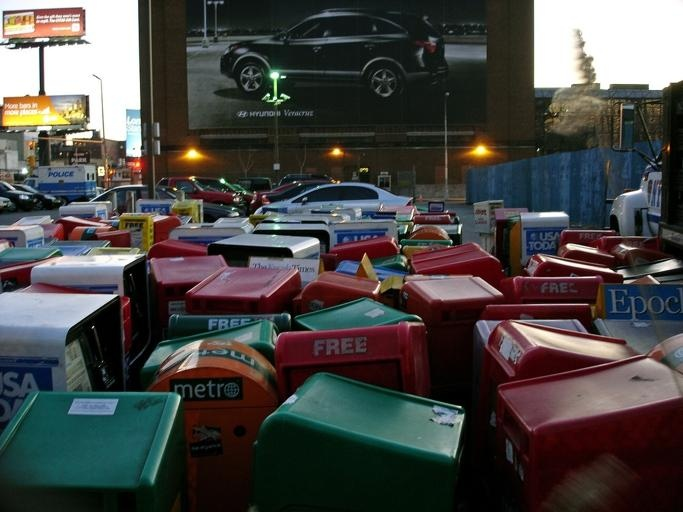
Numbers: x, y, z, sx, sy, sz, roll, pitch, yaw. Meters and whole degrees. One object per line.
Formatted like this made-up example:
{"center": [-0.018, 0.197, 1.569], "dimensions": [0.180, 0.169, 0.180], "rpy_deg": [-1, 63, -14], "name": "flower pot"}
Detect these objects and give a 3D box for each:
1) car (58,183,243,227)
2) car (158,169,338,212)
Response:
{"center": [-4.958, -1.556, 19.967], "dimensions": [4.064, 1.677, 2.038], "rpy_deg": [-1, 5, 7], "name": "car"}
{"center": [-4.203, -2.604, 28.962], "dimensions": [4.910, 2.219, 2.748], "rpy_deg": [1, 6, 14], "name": "car"}
